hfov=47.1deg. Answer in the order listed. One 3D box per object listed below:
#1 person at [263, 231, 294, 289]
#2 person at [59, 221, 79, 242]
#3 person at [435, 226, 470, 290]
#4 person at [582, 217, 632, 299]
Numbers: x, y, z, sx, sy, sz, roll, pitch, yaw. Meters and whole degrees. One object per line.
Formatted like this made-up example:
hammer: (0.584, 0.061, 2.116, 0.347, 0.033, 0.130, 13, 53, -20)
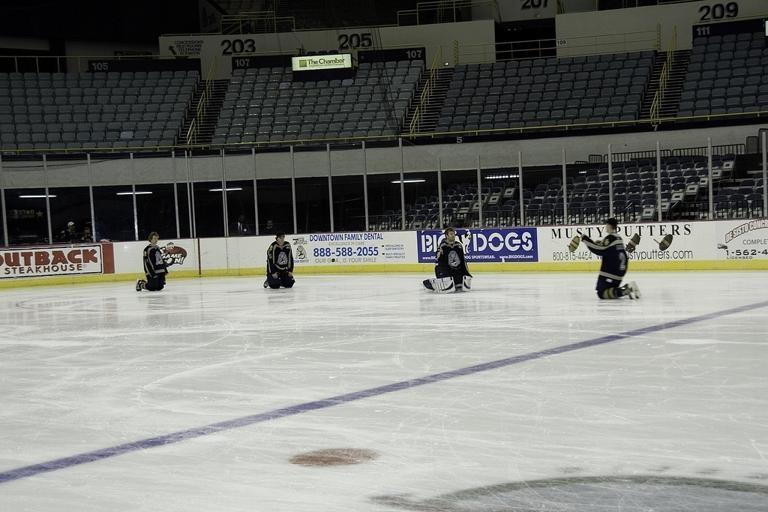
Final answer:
person: (-3.023, 0.153, 24.781, 0.814, 1.126, 0.536, -4, 2, -7)
person: (-10.636, -0.810, 29.365, 0.600, 0.937, 0.547, 6, 16, -13)
person: (1.628, 0.109, 21.684, 1.050, 1.416, 0.963, -13, 20, -41)
person: (4.933, 0.086, 19.195, 1.061, 1.720, 0.494, -3, 2, 11)
